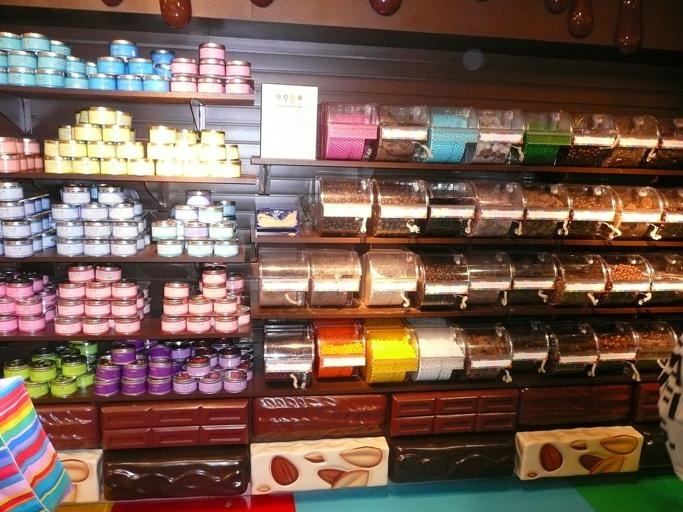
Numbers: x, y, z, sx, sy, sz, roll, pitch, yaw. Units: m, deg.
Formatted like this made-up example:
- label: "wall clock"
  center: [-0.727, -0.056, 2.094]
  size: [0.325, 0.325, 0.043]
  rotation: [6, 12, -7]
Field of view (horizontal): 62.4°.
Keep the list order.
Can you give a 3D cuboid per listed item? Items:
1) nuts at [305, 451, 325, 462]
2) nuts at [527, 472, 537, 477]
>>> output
- label: "nuts"
  center: [-0.172, 1.291, 3.617]
  size: [0.133, 0.043, 0.035]
  rotation: [3, 11, -10]
- label: "nuts"
  center: [1.292, 1.477, 3.815]
  size: [0.077, 0.026, 0.019]
  rotation: [1, -2, -5]
